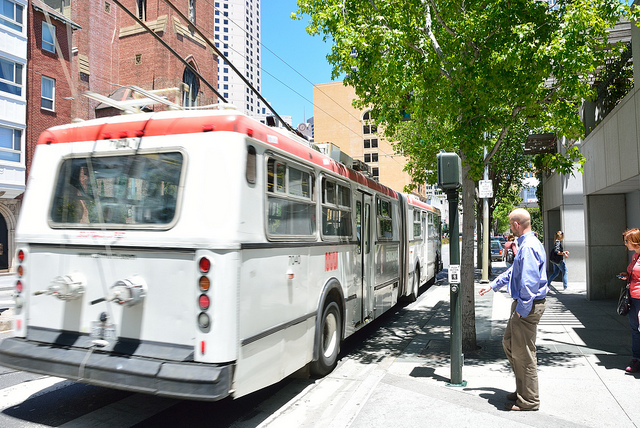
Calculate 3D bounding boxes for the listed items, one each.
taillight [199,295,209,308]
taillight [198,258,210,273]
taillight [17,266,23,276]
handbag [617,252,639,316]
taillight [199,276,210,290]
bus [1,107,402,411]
[{"bbox_3d":[-1.593,1.204,6.533,0.146,0.168,0.033,12,-9,0],"label":"taillight"},{"bbox_3d":[-1.601,0.700,6.566,0.172,0.166,0.044,18,7,23],"label":"taillight"},{"bbox_3d":[-4.711,0.891,7.443,0.090,0.143,0.047,2,6,6],"label":"taillight"},{"bbox_3d":[5.681,1.293,8.795,0.234,1.188,0.368,0,4,5],"label":"handbag"},{"bbox_3d":[-1.595,0.955,6.552,0.168,0.187,0.029,7,-5,10],"label":"taillight"},{"bbox_3d":[-1.587,0.715,7.871,6.172,4.831,2.923,-2,4,-36],"label":"bus"}]
